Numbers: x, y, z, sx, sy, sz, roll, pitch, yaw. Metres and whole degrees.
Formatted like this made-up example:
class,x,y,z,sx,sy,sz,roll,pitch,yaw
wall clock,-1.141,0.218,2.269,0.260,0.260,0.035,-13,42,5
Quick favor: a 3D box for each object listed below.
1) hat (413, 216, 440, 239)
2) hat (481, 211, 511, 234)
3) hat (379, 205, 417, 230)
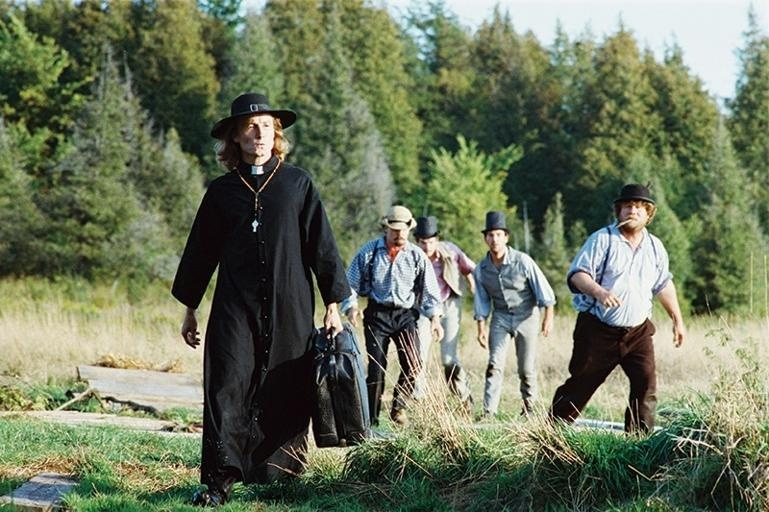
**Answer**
class,x,y,z,sx,sy,sz,roll,pitch,yaw
hat,0.799,-0.571,24.380,0.391,0.288,0.417,-1,1,-6
hat,2.124,-0.664,23.810,0.446,0.325,0.465,-1,1,-4
hat,0.266,-0.712,23.305,0.641,0.494,0.387,2,-5,0
